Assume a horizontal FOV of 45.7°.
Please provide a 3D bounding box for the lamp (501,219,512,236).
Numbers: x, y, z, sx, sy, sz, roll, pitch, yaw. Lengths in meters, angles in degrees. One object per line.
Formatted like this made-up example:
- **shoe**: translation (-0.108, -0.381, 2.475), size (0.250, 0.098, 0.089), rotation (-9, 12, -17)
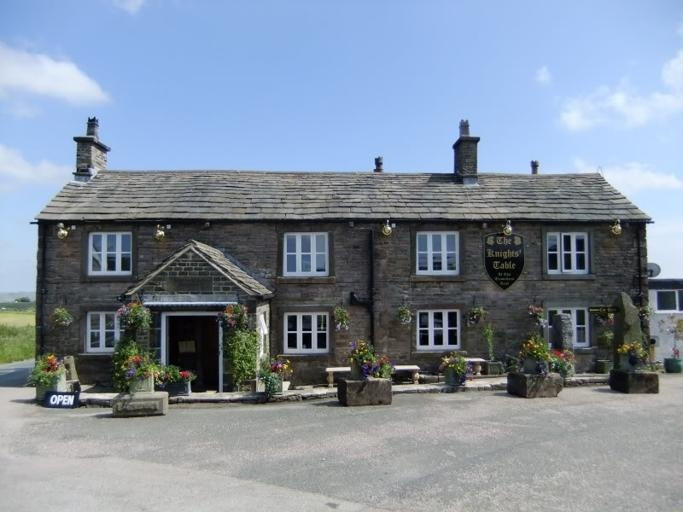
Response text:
- **lamp**: translation (5.834, -1.036, 28.646), size (0.774, 0.437, 0.312), rotation (-13, 15, -42)

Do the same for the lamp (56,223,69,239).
- **lamp**: translation (-9.476, -0.871, 27.608), size (0.373, 0.512, 0.428), rotation (2, -10, -13)

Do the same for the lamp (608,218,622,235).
- **lamp**: translation (9.787, -1.048, 28.878), size (0.187, 0.517, 0.362), rotation (3, -3, -42)

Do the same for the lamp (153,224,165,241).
- **lamp**: translation (-6.218, -0.823, 27.800), size (0.328, 0.520, 0.244), rotation (0, -3, -15)
